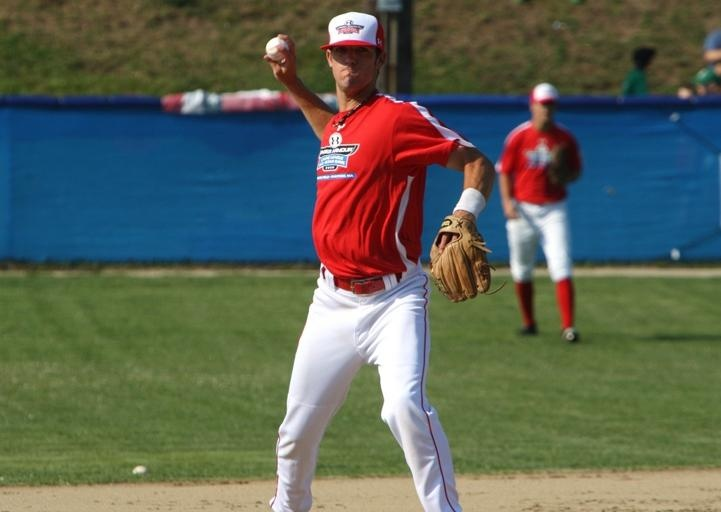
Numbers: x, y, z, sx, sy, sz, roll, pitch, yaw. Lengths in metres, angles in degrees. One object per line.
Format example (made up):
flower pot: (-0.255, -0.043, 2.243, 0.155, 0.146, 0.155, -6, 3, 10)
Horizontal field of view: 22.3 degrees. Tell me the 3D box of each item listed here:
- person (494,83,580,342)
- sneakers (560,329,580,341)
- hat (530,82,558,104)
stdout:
person: (2.223, -0.547, 22.374, 1.177, 3.104, 0.757, 4, 8, 45)
sneakers: (2.508, 0.950, 22.088, 0.190, 0.202, 0.240, -1, 6, 8)
hat: (2.212, -1.987, 22.320, 0.302, 0.229, 0.384, -1, 6, 5)
